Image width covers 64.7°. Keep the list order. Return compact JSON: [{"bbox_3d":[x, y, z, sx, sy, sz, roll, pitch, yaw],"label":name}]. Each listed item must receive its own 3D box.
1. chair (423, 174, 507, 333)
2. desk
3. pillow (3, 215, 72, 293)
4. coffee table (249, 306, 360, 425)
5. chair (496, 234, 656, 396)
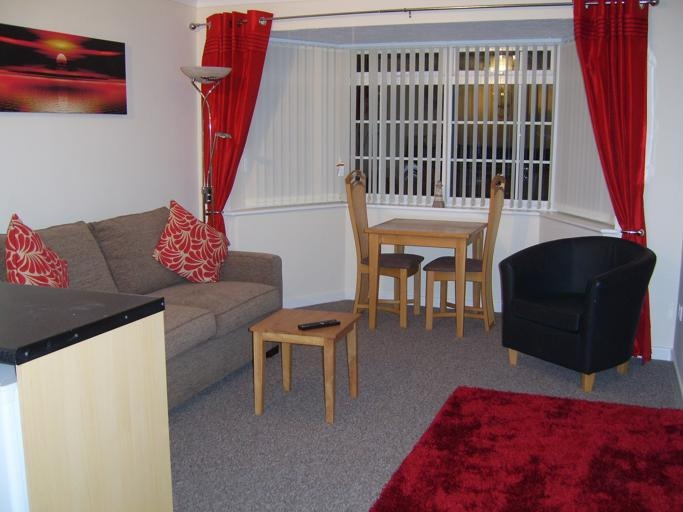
[{"bbox_3d":[1.117,-0.024,4.827,0.616,1.399,0.568,4,5,23],"label":"chair"},{"bbox_3d":[0.765,0.190,4.996,1.143,0.903,1.165,-2,-6,41],"label":"desk"},{"bbox_3d":[-1.741,-0.020,3.052,0.302,0.415,0.258,-8,14,-29],"label":"pillow"},{"bbox_3d":[-0.163,0.583,3.405,0.607,0.625,0.637,2,9,19],"label":"coffee table"},{"bbox_3d":[1.642,0.363,3.830,0.928,0.938,0.959,3,10,28],"label":"chair"}]
